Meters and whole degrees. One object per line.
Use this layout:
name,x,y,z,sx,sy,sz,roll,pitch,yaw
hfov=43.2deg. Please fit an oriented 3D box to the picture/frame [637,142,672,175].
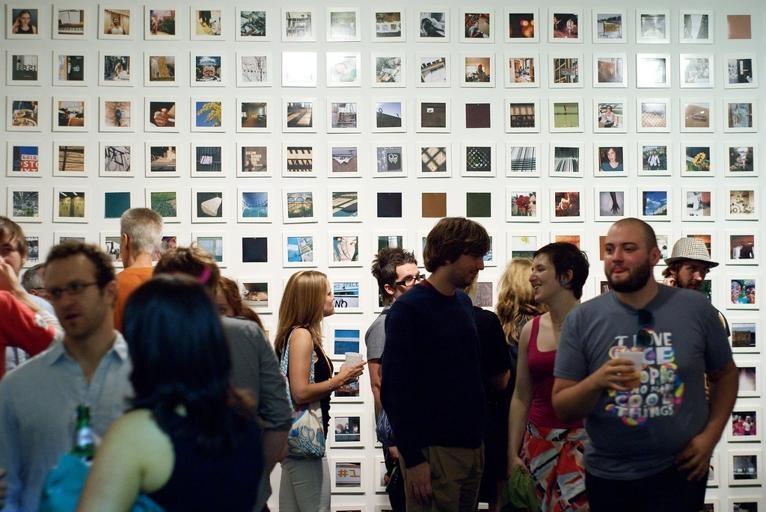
picture/frame,2.114,-0.753,7.578,0.249,0.253,0.025,0,-6,0

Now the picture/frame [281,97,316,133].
picture/frame,-0.670,-1.094,7.494,0.262,0.268,0.028,-2,3,0

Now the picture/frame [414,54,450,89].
picture/frame,0.369,-1.431,7.527,0.255,0.268,0.036,-2,1,0

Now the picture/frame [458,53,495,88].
picture/frame,0.713,-1.449,7.543,0.255,0.273,0.027,-3,1,-7

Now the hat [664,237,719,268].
hat,2.332,-0.039,7.322,0.239,0.160,0.303,1,-16,13

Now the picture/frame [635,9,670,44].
picture/frame,2.105,-1.790,7.588,0.269,0.274,0.021,1,1,-1

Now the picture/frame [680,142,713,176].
picture/frame,2.455,-0.750,7.577,0.250,0.268,0.026,2,0,1

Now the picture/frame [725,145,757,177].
picture/frame,2.806,-0.739,7.572,0.237,0.272,0.019,1,-2,-4

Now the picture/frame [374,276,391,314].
picture/frame,-0.004,0.295,7.164,0.146,0.167,0.187,-2,-11,-3

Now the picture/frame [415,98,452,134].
picture/frame,0.376,-1.087,7.518,0.269,0.262,0.020,0,-5,-3

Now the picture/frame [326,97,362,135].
picture/frame,-0.319,-1.083,7.502,0.283,0.289,0.029,0,-5,-3

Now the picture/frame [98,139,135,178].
picture/frame,-2.069,-0.746,7.450,0.286,0.308,0.021,-1,0,-4

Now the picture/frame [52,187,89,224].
picture/frame,-2.411,-0.384,7.425,0.273,0.312,0.022,1,-4,-7

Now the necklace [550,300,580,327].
necklace,1.178,0.371,6.275,0.173,0.137,0.150,-4,-1,31

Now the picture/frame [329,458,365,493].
picture/frame,-0.275,1.680,7.400,0.266,0.258,0.023,2,-28,-11

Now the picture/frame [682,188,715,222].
picture/frame,2.455,-0.389,7.557,0.256,0.273,0.020,-1,-10,0

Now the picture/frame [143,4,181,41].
picture/frame,-1.722,-1.795,7.476,0.271,0.264,0.018,-1,3,0

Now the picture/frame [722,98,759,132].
picture/frame,2.806,-1.100,7.584,0.250,0.277,0.037,3,0,1

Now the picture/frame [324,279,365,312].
picture/frame,-0.300,0.305,7.276,0.281,0.281,0.028,1,-4,-2

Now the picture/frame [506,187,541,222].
picture/frame,1.079,-0.396,7.526,0.267,0.275,0.020,0,-6,-1

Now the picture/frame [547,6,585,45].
picture/frame,1.419,-1.795,7.563,0.286,0.272,0.020,1,-5,-2

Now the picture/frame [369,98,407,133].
picture/frame,0.031,-1.082,7.505,0.258,0.253,0.020,0,0,-1

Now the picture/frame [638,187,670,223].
picture/frame,2.109,-0.388,7.522,0.289,0.309,0.023,-1,-2,0

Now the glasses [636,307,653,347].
glasses,1.570,0.453,5.789,0.125,0.228,0.232,-2,-2,20

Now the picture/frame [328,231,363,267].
picture/frame,-0.300,-0.049,7.472,0.268,0.275,0.026,0,0,0

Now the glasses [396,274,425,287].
glasses,0.195,0.174,6.827,0.114,0.035,0.116,-13,-1,32

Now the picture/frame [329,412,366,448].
picture/frame,-0.278,1.345,7.412,0.329,0.295,0.028,0,-5,-2

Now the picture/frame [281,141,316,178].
picture/frame,-0.666,-0.738,7.490,0.278,0.283,0.023,0,-3,-3

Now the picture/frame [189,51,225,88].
picture/frame,-1.373,-1.437,7.478,0.273,0.278,0.027,-2,1,-2

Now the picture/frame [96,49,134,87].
picture/frame,-2.078,-1.443,7.457,0.277,0.297,0.021,-2,2,-2

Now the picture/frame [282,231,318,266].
picture/frame,-0.655,-0.049,7.467,0.254,0.259,0.025,-2,-5,-4

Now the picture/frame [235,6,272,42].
picture/frame,-1.018,-1.793,7.490,0.264,0.281,0.027,-1,1,-8

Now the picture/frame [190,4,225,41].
picture/frame,-1.370,-1.796,7.484,0.233,0.239,0.023,-11,3,3

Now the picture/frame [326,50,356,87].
picture/frame,-0.306,-1.446,7.514,0.254,0.255,0.012,-1,-6,1

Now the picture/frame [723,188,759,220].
picture/frame,2.802,-0.399,7.555,0.236,0.280,0.023,-2,0,0

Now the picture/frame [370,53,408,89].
picture/frame,0.031,-1.440,7.514,0.272,0.288,0.028,0,1,-7

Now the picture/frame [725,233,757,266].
picture/frame,2.783,-0.043,7.534,0.244,0.288,0.029,-1,-1,-2

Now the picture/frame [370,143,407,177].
picture/frame,0.033,-0.748,7.501,0.255,0.250,0.025,0,-4,-2

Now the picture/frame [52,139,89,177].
picture/frame,-2.417,-0.745,7.433,0.284,0.305,0.021,0,-2,-6

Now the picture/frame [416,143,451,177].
picture/frame,0.382,-0.740,7.516,0.233,0.247,0.021,8,-1,-6

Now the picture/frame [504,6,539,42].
picture/frame,1.070,-1.801,7.554,0.270,0.257,0.027,0,1,-1

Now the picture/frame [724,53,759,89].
picture/frame,2.809,-1.444,7.590,0.262,0.278,0.028,-3,1,-1

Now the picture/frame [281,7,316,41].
picture/frame,-0.670,-1.792,7.501,0.259,0.264,0.018,-1,1,0

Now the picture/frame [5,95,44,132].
picture/frame,-2.768,-1.084,7.430,0.278,0.307,0.021,0,-1,-6

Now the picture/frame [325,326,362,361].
picture/frame,-0.295,0.670,7.312,0.257,0.263,0.029,0,1,2

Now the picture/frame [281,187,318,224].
picture/frame,-0.656,-0.382,7.475,0.271,0.278,0.019,-2,0,0
